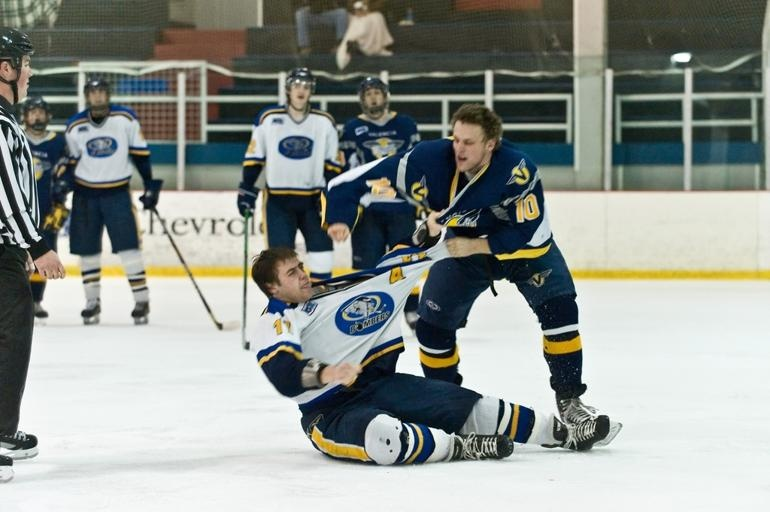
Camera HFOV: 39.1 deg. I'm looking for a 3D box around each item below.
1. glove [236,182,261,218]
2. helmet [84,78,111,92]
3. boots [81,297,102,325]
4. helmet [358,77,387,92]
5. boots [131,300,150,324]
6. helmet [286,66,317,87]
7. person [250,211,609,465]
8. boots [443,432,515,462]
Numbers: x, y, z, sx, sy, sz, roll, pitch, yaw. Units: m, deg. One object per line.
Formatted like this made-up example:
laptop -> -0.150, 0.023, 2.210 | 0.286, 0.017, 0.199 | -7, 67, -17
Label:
glove -> -0.985, -0.404, 7.816 | 0.175, 0.230, 0.084 | 9, 9, 15
helmet -> -2.346, -1.387, 8.825 | 0.187, 0.112, 0.201 | -4, 10, -17
boots -> -2.379, 0.451, 8.767 | 0.144, 0.182, 0.234 | -5, 11, -18
helmet -> -0.067, -1.299, 8.260 | 0.161, 0.104, 0.246 | 7, 13, 40
boots -> -1.998, 0.449, 8.845 | 0.143, 0.186, 0.280 | -4, 10, -14
helmet -> -0.606, -1.258, 7.680 | 0.188, 0.123, 0.137 | -2, 10, -7
person -> 0.259, 0.486, 5.648 | 1.662, 0.996, 1.000 | 1, 6, 18
boots -> 0.483, 0.952, 5.429 | 0.400, 0.127, 0.156 | -2, -1, 6
